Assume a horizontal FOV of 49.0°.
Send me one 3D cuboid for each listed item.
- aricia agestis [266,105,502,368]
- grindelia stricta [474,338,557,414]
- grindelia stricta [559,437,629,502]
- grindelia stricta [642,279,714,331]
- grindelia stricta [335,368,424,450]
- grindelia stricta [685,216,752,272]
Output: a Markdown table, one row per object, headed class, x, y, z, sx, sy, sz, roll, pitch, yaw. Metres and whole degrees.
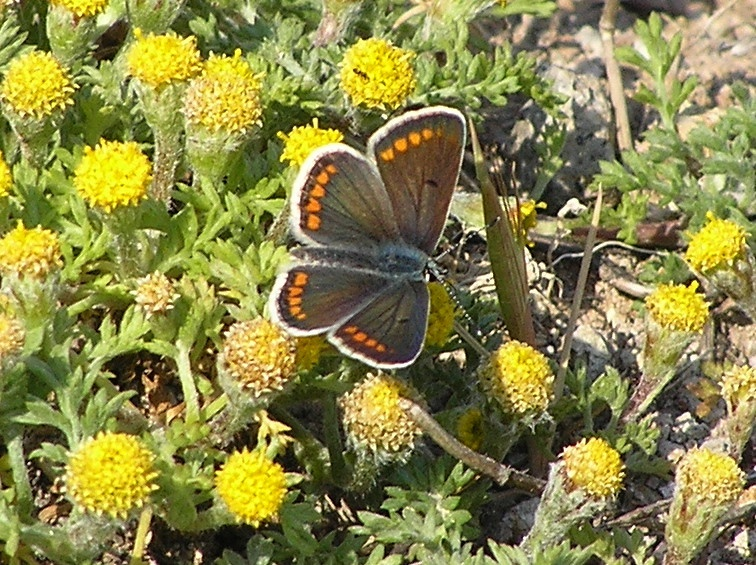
| class | x | y | z | sx | sy | sz | roll | pitch | yaw |
| --- | --- | --- | --- | --- | --- | --- | --- | --- | --- |
| aricia agestis | -0.048 | -0.225 | 2.922 | 0.573 | 0.360 | 0.969 | 13 | 85 | 3 |
| grindelia stricta | 0.481 | 0.339 | 2.985 | 0.218 | 0.199 | 0.262 | -17 | 83 | -22 |
| grindelia stricta | 0.731 | 0.631 | 2.896 | 0.192 | 0.148 | 0.216 | 2 | 49 | -26 |
| grindelia stricta | 1.161 | 0.104 | 3.205 | 0.196 | 0.097 | 0.202 | 14 | 62 | 0 |
| grindelia stricta | 0.003 | 0.443 | 2.881 | 0.224 | 0.136 | 0.273 | -7 | 87 | 7 |
| grindelia stricta | 1.416 | -0.142 | 3.465 | 0.193 | 0.280 | 0.226 | 3 | 31 | 8 |
